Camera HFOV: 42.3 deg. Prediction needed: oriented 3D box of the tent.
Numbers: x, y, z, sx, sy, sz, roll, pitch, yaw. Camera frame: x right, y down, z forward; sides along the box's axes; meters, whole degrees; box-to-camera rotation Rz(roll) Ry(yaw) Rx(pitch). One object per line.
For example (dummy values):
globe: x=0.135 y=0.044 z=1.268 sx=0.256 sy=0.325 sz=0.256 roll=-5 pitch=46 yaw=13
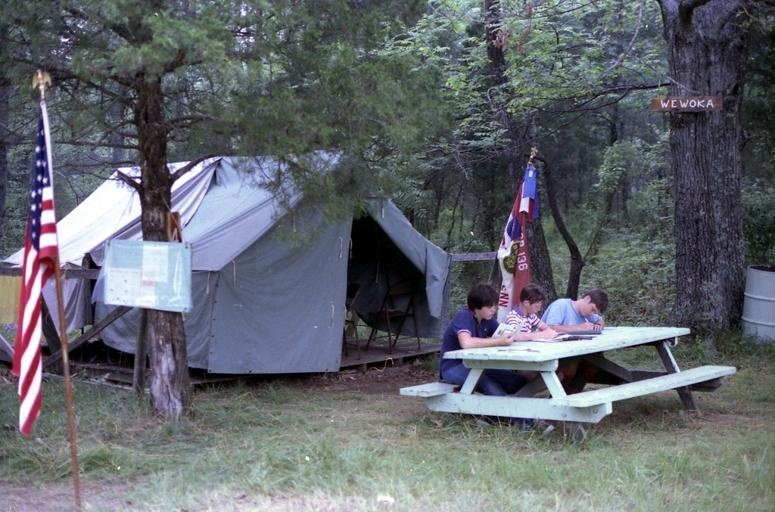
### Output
tent: x=-1.852 y=0.150 z=15.223 sx=5.846 sy=3.452 sz=3.501 roll=-6 pitch=13 yaw=-20
